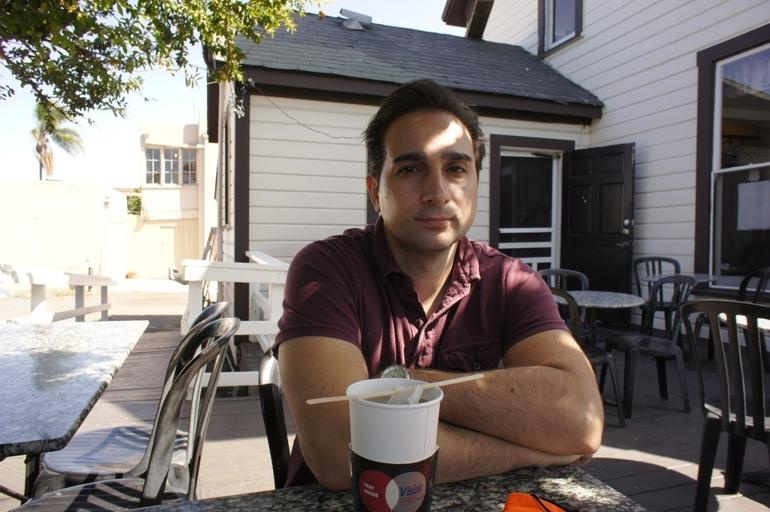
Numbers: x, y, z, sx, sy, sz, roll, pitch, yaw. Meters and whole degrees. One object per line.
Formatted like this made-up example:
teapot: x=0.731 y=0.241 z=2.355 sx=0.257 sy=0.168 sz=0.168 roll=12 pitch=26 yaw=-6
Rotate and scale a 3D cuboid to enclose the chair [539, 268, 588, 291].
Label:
chair: x=2.299 y=0.300 z=7.219 sx=0.321 sy=0.399 sz=0.303 roll=-1 pitch=-3 yaw=-12
